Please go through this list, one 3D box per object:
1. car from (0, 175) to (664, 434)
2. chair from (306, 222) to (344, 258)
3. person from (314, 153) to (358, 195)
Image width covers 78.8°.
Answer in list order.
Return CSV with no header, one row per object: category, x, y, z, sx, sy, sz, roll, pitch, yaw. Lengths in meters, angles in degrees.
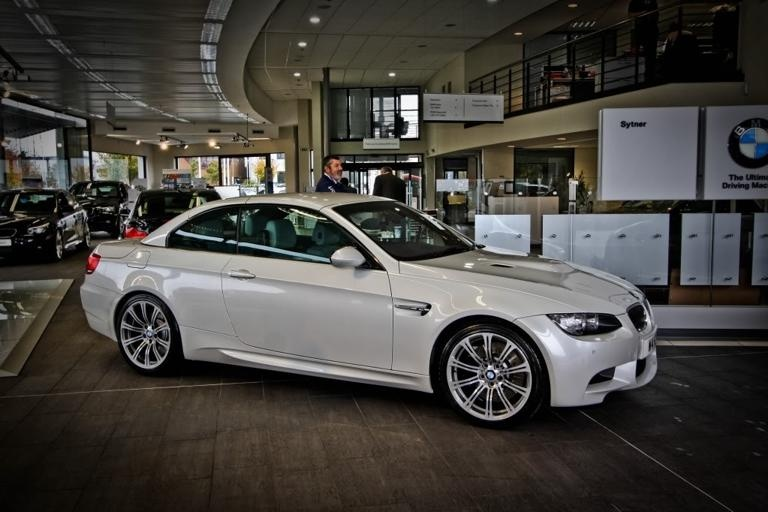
car,-0.253,0.426,4.866,5.209,1.571,2.286,1,5,21
chair,-0.534,-0.163,4.367,0.357,0.352,0.272,3,3,-9
person,-0.978,-1.516,8.926,0.534,0.734,1.109,2,13,15
